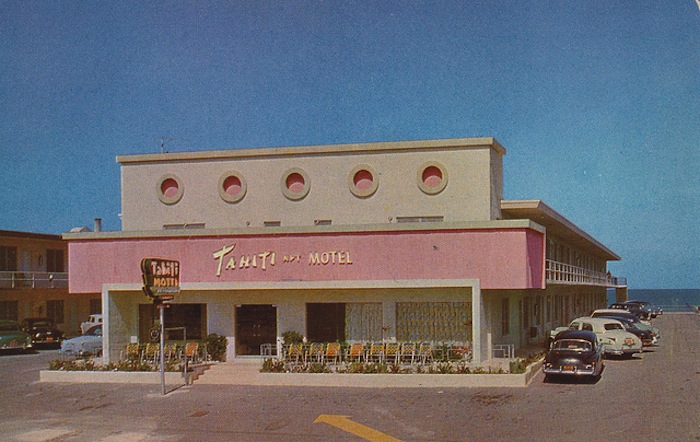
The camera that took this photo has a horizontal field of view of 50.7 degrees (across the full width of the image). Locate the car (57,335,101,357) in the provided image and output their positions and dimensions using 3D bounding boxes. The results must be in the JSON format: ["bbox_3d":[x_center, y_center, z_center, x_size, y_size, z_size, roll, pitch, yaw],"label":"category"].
[{"bbox_3d":[-16.653,7.835,46.498,2.147,1.343,2.761,10,-17,-43],"label":"car"}]
